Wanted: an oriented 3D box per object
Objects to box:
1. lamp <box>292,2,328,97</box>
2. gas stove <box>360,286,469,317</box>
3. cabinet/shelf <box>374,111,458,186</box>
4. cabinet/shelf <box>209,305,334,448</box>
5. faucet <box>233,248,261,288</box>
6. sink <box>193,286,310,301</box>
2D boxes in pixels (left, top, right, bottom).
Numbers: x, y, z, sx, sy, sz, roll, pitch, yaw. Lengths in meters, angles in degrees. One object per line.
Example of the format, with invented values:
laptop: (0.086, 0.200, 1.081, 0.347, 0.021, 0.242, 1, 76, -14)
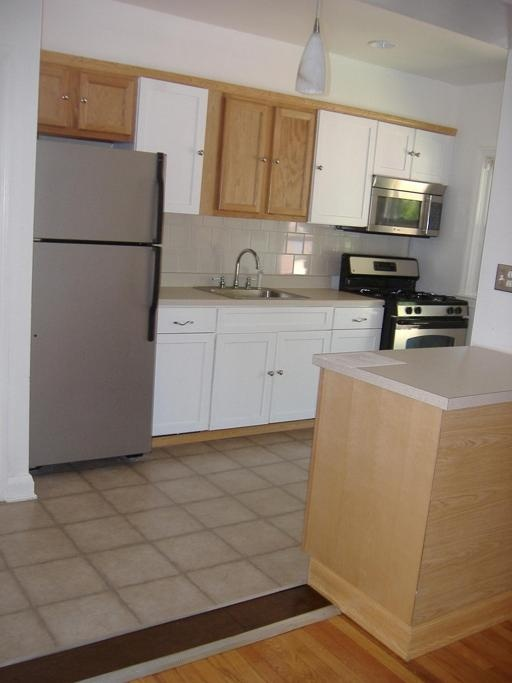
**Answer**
lamp: (0.232, -1.168, 2.213, 0.133, 0.310, 0.087, 7, 6, 19)
gas stove: (1.174, -0.282, 4.137, 0.440, 0.135, 0.404, -4, 9, -26)
cabinet/shelf: (1.210, -1.446, 4.164, 1.058, 0.521, 0.367, -9, 20, -32)
cabinet/shelf: (0.060, 0.189, 3.292, 0.904, 0.780, 0.428, -4, 10, -29)
faucet: (-0.057, -0.521, 3.828, 0.195, 0.290, 0.329, 5, 6, 2)
sink: (-0.040, -0.333, 3.776, 0.345, 0.074, 0.300, -6, 15, -29)
